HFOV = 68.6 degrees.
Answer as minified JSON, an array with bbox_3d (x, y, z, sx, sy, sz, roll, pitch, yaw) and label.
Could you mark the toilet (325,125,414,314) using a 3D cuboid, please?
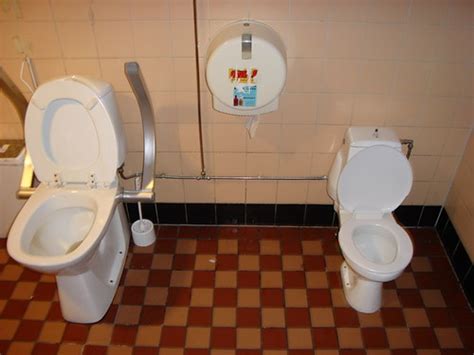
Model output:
[{"bbox_3d":[0.908,0.322,2.368,0.477,1.104,0.877,-1,33,6],"label":"toilet"}]
